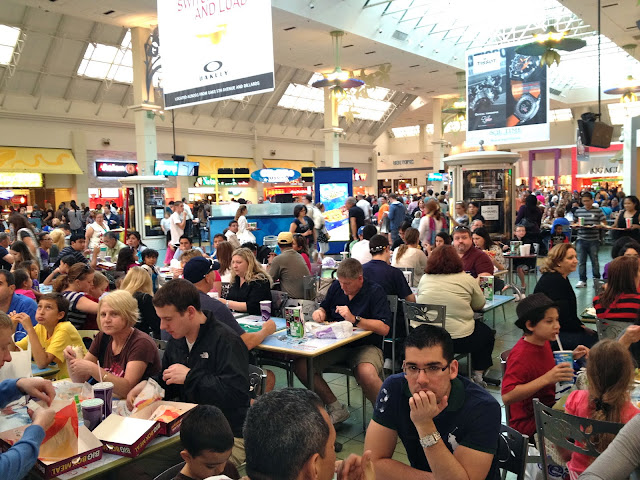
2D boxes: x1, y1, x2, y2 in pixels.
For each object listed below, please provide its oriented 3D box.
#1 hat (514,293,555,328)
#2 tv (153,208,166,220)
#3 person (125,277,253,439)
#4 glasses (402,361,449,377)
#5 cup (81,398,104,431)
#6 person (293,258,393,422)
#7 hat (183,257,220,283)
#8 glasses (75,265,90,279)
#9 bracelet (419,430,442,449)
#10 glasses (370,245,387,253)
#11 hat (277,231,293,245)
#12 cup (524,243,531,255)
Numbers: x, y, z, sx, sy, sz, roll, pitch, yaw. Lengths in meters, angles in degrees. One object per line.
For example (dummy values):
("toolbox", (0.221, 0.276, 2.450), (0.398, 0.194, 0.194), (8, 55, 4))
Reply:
("hat", (1.465, 0.478, 3.411), (0.264, 0.093, 0.229), (-41, -14, 12))
("tv", (-4.780, -0.813, 14.558), (0.391, 0.239, 0.433), (1, 41, -17))
("person", (-0.907, 0.976, 3.554), (0.821, 1.329, 0.659), (-7, -4, 32))
("glasses", (0.550, 0.682, 2.598), (0.234, 0.079, 0.077), (1, 1, 19))
("cup", (-1.366, 1.045, 2.943), (0.129, 0.187, 0.120), (4, 10, -1))
("person", (0.233, 0.986, 4.927), (0.918, 1.657, 0.902), (-3, -7, 40))
("hat", (-1.122, 0.265, 4.569), (0.270, 0.160, 0.201), (-38, 31, -31))
("glasses", (-2.437, 0.331, 5.063), (0.089, 0.126, 0.058), (4, -2, -26))
("bracelet", (0.542, 0.994, 2.454), (0.097, 0.068, 0.102), (-26, -10, 24))
("glasses", (0.667, 0.108, 5.695), (0.113, 0.085, 0.168), (-5, 13, 27))
("hat", (-0.562, -0.029, 7.758), (0.273, 0.164, 0.401), (-2, 2, -4))
("cup", (3.542, 0.148, 8.424), (0.141, 0.135, 0.177), (4, 10, 23))
